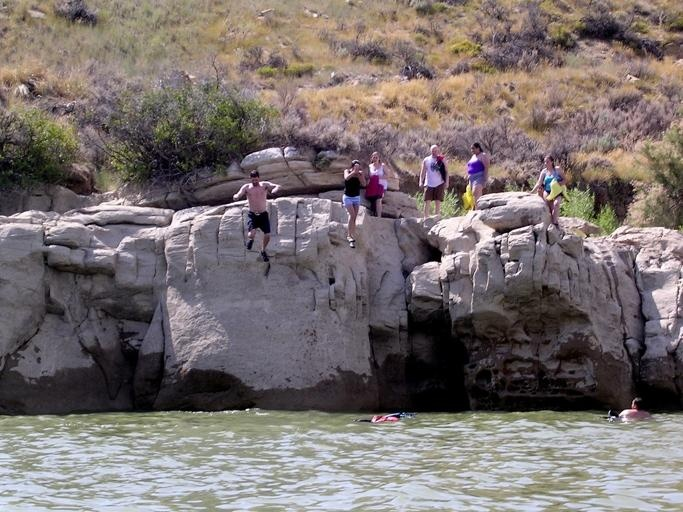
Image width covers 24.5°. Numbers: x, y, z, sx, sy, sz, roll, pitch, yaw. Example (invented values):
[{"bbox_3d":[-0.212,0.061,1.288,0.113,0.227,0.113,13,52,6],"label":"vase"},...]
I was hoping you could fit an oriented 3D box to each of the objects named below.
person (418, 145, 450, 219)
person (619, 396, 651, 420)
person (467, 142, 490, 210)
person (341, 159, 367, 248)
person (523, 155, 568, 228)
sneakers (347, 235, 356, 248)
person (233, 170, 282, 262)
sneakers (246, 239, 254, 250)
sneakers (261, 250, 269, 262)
[{"bbox_3d":[2.509,-2.011,43.281,0.748,1.786,0.508,-2,11,5],"label":"person"},{"bbox_3d":[7.497,3.871,40.188,0.752,0.443,1.014,2,12,21],"label":"person"},{"bbox_3d":[3.706,-2.213,43.013,0.546,1.719,1.138,-2,11,4],"label":"person"},{"bbox_3d":[0.316,-1.378,41.867,0.620,2.301,0.609,-3,11,0],"label":"person"},{"bbox_3d":[5.499,-1.699,41.692,0.809,1.749,1.526,-3,11,1],"label":"person"},{"bbox_3d":[0.231,-0.368,41.773,0.161,0.310,0.123,-25,8,-29],"label":"sneakers"},{"bbox_3d":[-2.246,-1.016,41.208,0.955,2.379,0.675,-3,11,-3],"label":"person"},{"bbox_3d":[-2.463,-0.284,41.283,0.155,0.264,0.259,5,-10,-5],"label":"sneakers"},{"bbox_3d":[-2.052,0.035,41.297,0.117,0.310,0.130,-32,10,-32],"label":"sneakers"}]
